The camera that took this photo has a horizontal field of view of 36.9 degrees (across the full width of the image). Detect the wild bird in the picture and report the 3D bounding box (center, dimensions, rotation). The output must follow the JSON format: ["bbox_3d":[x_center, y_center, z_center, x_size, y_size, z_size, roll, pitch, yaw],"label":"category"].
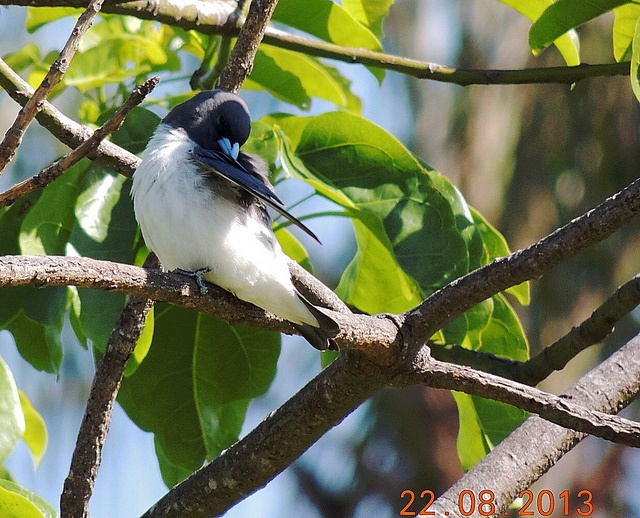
[{"bbox_3d":[-0.385,-0.227,4.857,0.924,1.161,0.964,-33,34,58],"label":"wild bird"}]
